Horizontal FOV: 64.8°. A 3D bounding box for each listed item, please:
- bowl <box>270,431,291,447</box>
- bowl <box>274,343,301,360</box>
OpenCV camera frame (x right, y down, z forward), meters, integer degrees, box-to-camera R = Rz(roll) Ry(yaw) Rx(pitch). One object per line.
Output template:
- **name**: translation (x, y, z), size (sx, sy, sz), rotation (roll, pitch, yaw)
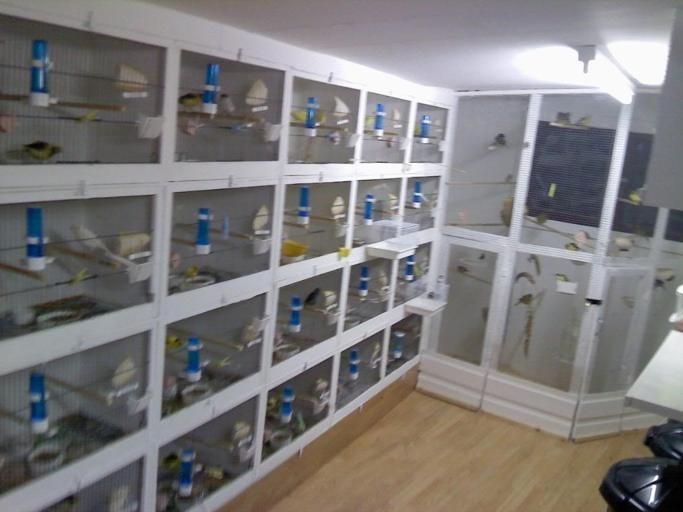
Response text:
- **bowl**: translation (-0.313, 0.926, 2.735), size (0.087, 0.058, 0.088), rotation (5, 14, -1)
- **bowl**: translation (-0.277, 0.464, 2.642), size (0.084, 0.032, 0.083), rotation (-6, 3, 0)
